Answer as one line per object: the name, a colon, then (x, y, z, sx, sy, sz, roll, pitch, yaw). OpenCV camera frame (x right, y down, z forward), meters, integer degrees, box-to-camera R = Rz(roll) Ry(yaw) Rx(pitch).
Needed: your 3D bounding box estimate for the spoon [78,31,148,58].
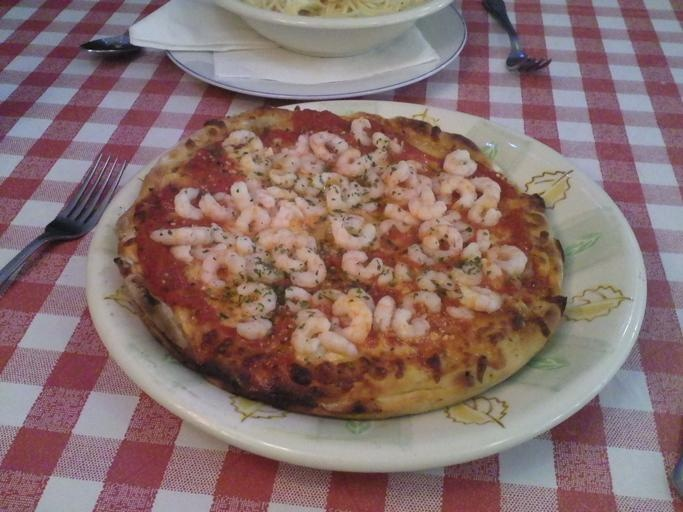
spoon: (-1.085, -1.025, 3.329, 0.116, 0.043, 0.386, 24, 34, 30)
